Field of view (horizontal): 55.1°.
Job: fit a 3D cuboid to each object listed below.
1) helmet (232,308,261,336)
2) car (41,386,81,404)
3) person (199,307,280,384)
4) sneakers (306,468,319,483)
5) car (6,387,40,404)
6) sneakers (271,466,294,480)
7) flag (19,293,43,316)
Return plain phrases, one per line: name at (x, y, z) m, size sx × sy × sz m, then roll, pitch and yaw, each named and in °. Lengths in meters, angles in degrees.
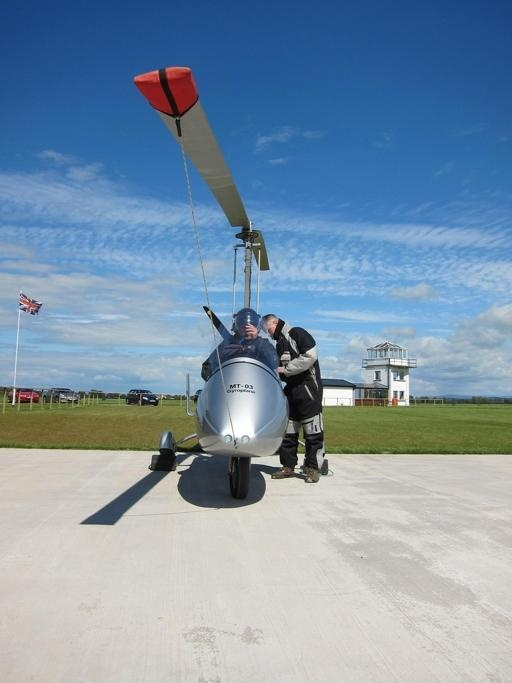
helmet at (-0.119, -0.184, 5.008) m, size 0.258 × 0.266 × 0.305 m, roll 3°, pitch -6°, yaw -5°
car at (-14.383, 4.003, 36.222) m, size 2.303 × 1.091 × 3.325 m, roll 3°, pitch -6°, yaw -21°
person at (-0.132, -0.010, 4.867) m, size 0.819 × 0.321 × 0.784 m, roll 2°, pitch -16°, yaw -5°
sneakers at (0.648, 1.562, 5.740) m, size 0.156 × 0.146 × 0.151 m, roll 0°, pitch -6°, yaw 7°
car at (-16.181, 3.836, 34.423) m, size 1.685 × 0.990 × 5.758 m, roll 3°, pitch -6°, yaw -20°
sneakers at (0.320, 1.647, 6.155) m, size 0.323 × 0.125 × 0.115 m, roll 6°, pitch -13°, yaw -22°
flag at (-15.008, -2.491, 32.403) m, size 1.078 × 1.416 × 1.290 m, roll 3°, pitch -6°, yaw -18°
